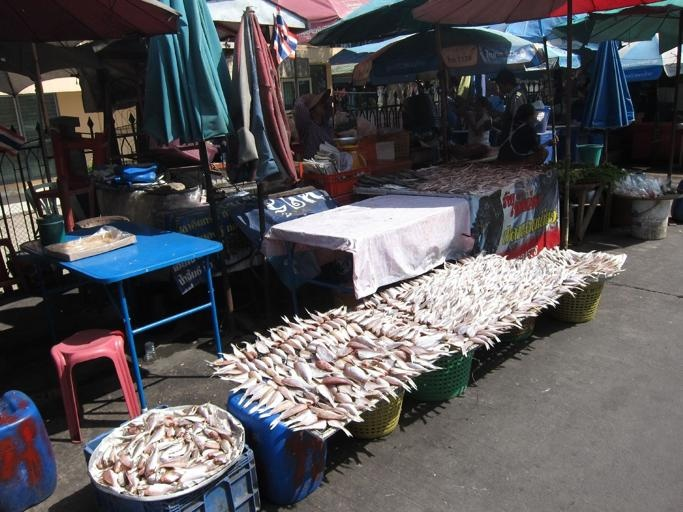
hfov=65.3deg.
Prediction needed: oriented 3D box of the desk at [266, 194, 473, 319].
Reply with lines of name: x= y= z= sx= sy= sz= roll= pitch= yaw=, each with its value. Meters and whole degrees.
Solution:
desk: x=0.585 y=-0.260 z=5.580 sx=1.156 sy=0.451 sz=1.817 roll=12 pitch=24 yaw=36

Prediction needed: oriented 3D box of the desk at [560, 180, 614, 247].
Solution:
desk: x=3.948 y=-0.698 z=8.559 sx=0.810 sy=0.890 sz=0.639 roll=-22 pitch=32 yaw=-28

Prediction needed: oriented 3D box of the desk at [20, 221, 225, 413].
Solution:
desk: x=-2.108 y=0.521 z=5.272 sx=1.664 sy=1.264 sz=1.372 roll=15 pitch=22 yaw=39

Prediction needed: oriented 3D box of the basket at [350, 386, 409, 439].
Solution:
basket: x=0.321 y=1.350 z=4.564 sx=0.413 sy=0.325 sz=0.479 roll=-2 pitch=0 yaw=0

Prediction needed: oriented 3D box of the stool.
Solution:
stool: x=-2.174 y=1.062 z=4.683 sx=0.753 sy=0.783 sz=0.749 roll=2 pitch=19 yaw=12

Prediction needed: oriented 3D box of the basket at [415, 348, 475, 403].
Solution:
basket: x=0.965 y=1.076 z=4.839 sx=0.508 sy=0.332 sz=0.478 roll=-7 pitch=6 yaw=-21

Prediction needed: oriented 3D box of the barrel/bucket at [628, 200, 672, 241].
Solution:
barrel/bucket: x=4.974 y=-0.675 z=8.721 sx=0.697 sy=0.726 sz=0.626 roll=-10 pitch=14 yaw=-36

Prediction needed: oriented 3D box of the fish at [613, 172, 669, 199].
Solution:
fish: x=4.872 y=-1.142 z=8.679 sx=0.602 sy=0.231 sz=0.550 roll=5 pitch=28 yaw=25

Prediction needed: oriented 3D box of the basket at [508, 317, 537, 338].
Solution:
basket: x=1.961 y=0.762 z=5.694 sx=0.290 sy=0.227 sz=0.336 roll=-2 pitch=7 yaw=3
